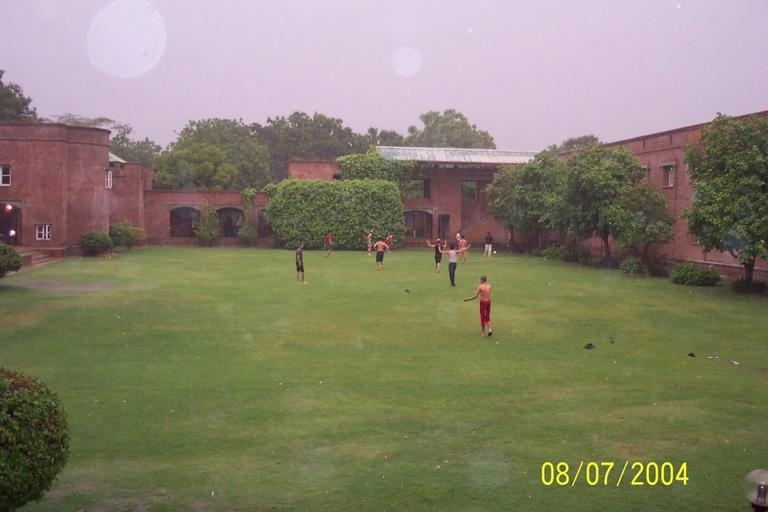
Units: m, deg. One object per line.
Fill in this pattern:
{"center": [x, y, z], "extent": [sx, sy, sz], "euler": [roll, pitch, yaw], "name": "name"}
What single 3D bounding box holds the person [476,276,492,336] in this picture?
{"center": [3.402, 1.676, 26.753], "extent": [0.380, 2.046, 0.889], "euler": [-2, 4, 7], "name": "person"}
